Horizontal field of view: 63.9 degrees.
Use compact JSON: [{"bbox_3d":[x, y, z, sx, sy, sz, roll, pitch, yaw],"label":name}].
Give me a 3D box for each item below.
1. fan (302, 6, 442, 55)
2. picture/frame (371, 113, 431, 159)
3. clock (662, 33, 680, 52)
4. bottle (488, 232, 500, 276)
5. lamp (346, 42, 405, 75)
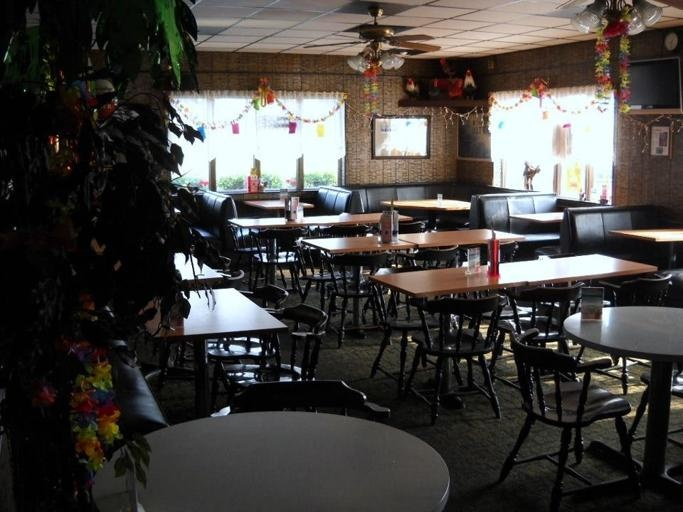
[{"bbox_3d":[0.403,-2.877,7.034,1.230,0.354,1.349,11,16,37],"label":"fan"},{"bbox_3d":[1.199,-2.400,11.239,1.432,0.887,0.074,9,18,37],"label":"picture/frame"},{"bbox_3d":[4.422,-2.818,7.323,0.035,0.256,0.216,-6,13,-24],"label":"clock"},{"bbox_3d":[1.288,-0.022,4.579,0.095,0.336,0.090,-1,-2,0],"label":"bottle"},{"bbox_3d":[0.389,-2.206,6.204,0.555,0.268,0.383,10,15,44],"label":"lamp"}]
